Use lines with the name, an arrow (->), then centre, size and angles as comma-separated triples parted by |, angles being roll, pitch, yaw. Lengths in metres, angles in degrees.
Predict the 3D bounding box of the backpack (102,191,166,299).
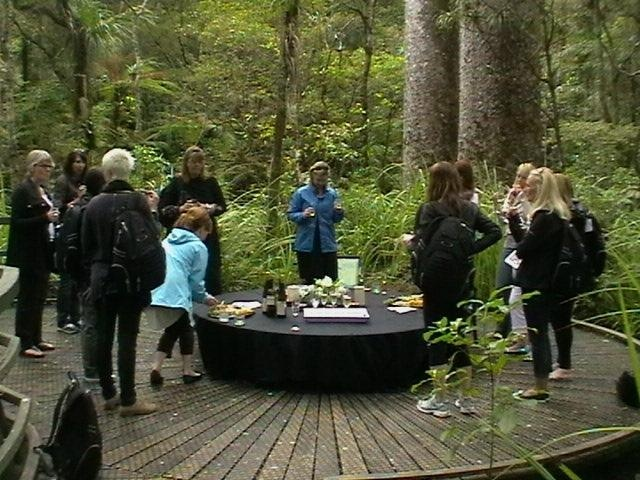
backpack -> -1.447, 0.033, 4.013 | 0.453, 0.774, 0.585 | -2, 13, -9

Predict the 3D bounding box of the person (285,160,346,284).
person -> -0.054, -0.156, 5.917 | 0.632, 1.497, 0.552 | -1, 9, -5

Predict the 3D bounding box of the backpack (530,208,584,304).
backpack -> 1.901, 0.193, 4.267 | 0.461, 0.841, 0.590 | 0, -5, 15

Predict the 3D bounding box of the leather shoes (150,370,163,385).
leather shoes -> -1.461, 1.245, 4.506 | 0.066, 0.187, 0.077 | 0, 28, -1

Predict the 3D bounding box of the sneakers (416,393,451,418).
sneakers -> 0.887, 1.321, 3.954 | 0.242, 0.116, 0.131 | 9, 10, 25

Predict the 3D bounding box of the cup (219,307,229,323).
cup -> -0.859, 0.708, 4.609 | 0.084, 0.098, 0.087 | 1, -4, 0

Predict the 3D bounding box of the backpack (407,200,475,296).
backpack -> 0.837, 0.086, 3.809 | 0.443, 0.626, 0.625 | 10, -19, 9

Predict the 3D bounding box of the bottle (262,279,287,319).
bottle -> -0.429, 0.562, 4.844 | 0.243, 0.370, 0.340 | 2, 6, 6

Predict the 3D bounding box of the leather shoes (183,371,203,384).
leather shoes -> -1.171, 1.275, 4.664 | 0.069, 0.081, 0.201 | 5, 7, 35

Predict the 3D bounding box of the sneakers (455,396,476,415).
sneakers -> 1.137, 1.323, 3.961 | 0.079, 0.079, 0.170 | -1, -9, -1

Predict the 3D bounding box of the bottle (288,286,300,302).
bottle -> -0.271, 0.555, 5.061 | 0.123, 0.140, 0.142 | 0, -2, -16

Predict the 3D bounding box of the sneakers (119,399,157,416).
sneakers -> -1.425, 1.342, 4.006 | 0.301, 0.130, 0.111 | -2, 8, -21
